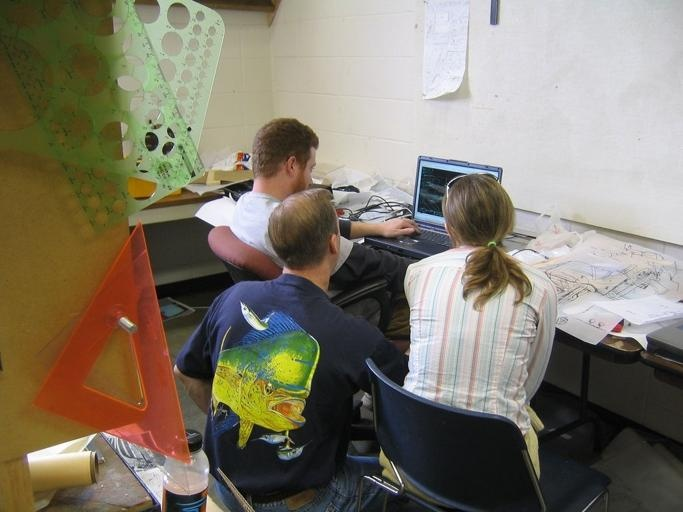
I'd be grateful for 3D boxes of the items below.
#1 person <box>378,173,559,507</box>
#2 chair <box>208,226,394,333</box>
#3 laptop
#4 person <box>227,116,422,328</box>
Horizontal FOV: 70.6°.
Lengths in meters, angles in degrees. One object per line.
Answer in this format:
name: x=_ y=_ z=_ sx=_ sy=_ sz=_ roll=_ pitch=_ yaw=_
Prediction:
person: x=0.318 y=0.149 z=1.446 sx=0.425 sy=0.920 sz=0.556 roll=6 pitch=17 yaw=12
chair: x=-0.201 y=0.088 z=2.276 sx=0.595 sy=0.693 sz=0.527 roll=-21 pitch=26 yaw=-25
laptop: x=0.437 y=-0.254 z=2.345 sx=0.434 sy=0.416 sz=0.500 roll=-15 pitch=24 yaw=-42
person: x=-0.151 y=-0.257 z=2.176 sx=0.747 sy=1.099 sz=0.713 roll=19 pitch=29 yaw=41
